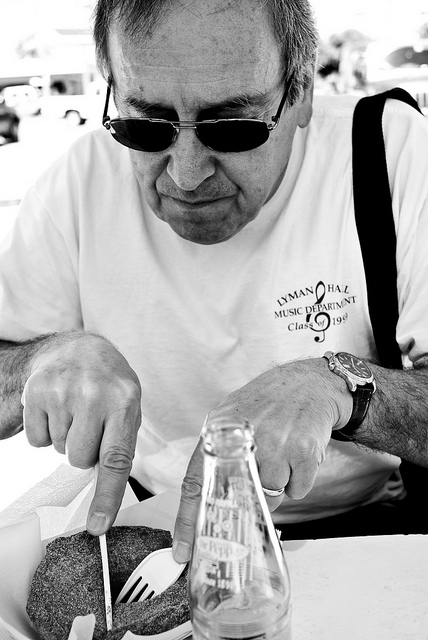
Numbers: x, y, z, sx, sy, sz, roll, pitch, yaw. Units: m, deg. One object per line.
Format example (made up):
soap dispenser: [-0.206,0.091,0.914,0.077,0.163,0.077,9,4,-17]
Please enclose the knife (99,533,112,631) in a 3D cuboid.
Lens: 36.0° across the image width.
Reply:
knife: [-0.178,0.428,1.084,0.019,0.018,0.167,-7,54,-5]
